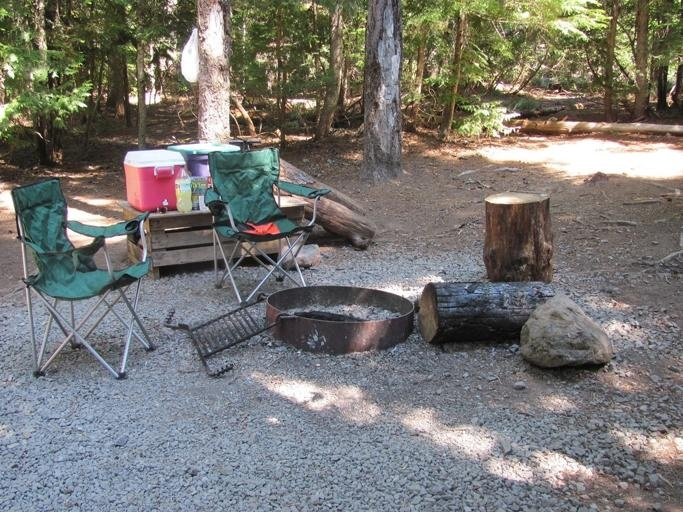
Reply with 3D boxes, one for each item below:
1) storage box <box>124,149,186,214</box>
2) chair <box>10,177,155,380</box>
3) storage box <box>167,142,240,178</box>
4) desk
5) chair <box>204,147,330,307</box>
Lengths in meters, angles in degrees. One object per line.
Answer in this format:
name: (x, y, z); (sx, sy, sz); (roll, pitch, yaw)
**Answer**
storage box: (-1.853, -0.760, 5.750); (0.592, 0.615, 0.727); (-4, 13, -30)
chair: (-1.999, 0.089, 4.566); (0.908, 1.368, 1.357); (-7, 17, -20)
storage box: (-1.496, -1.063, 6.126); (0.470, 0.283, 0.586); (10, 17, 37)
desk: (-1.611, -0.174, 5.860); (1.431, 0.495, 0.981); (-9, 28, -25)
chair: (-0.792, -0.322, 5.572); (1.212, 1.283, 0.882); (-10, 21, -31)
